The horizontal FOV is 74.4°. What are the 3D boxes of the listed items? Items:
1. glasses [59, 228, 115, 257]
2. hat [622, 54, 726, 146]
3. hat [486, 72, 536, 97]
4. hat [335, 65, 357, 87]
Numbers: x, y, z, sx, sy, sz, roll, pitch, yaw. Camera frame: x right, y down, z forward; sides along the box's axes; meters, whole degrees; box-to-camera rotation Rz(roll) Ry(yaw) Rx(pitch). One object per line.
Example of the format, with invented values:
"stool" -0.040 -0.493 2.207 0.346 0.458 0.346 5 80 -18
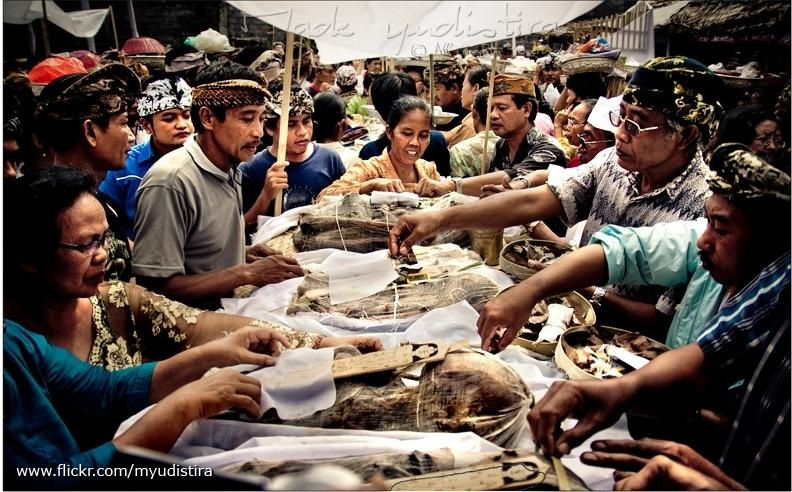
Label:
"glasses" -1.450 -0.016 2.425 0.172 0.044 0.155 8 21 10
"hat" 1.591 -0.866 3.044 0.541 0.405 0.392 22 27 9
"hat" 1.058 -1.480 4.860 0.517 0.188 0.346 -4 11 -4
"hat" -0.818 -2.763 8.530 0.356 0.351 0.414 5 28 -2
